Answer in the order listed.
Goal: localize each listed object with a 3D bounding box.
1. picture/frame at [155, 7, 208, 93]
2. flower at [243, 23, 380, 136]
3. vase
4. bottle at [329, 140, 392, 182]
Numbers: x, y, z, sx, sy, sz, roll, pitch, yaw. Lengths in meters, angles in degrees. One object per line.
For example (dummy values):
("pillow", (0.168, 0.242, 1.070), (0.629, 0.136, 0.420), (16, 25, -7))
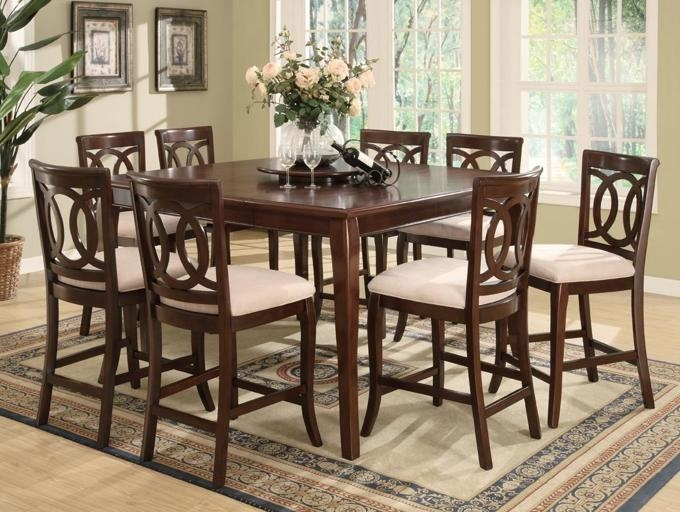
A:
("picture/frame", (-1.687, -2.162, 6.173), (0.165, 0.823, 0.716), (9, 17, 29))
("flower", (-0.174, -0.872, 3.164), (0.639, 0.465, 0.543), (-11, 26, -34))
("vase", (-0.228, -0.604, 3.127), (0.367, 0.281, 0.349), (-4, 5, -37))
("bottle", (0.119, -0.511, 2.988), (0.450, 0.099, 0.111), (25, 30, 35))
